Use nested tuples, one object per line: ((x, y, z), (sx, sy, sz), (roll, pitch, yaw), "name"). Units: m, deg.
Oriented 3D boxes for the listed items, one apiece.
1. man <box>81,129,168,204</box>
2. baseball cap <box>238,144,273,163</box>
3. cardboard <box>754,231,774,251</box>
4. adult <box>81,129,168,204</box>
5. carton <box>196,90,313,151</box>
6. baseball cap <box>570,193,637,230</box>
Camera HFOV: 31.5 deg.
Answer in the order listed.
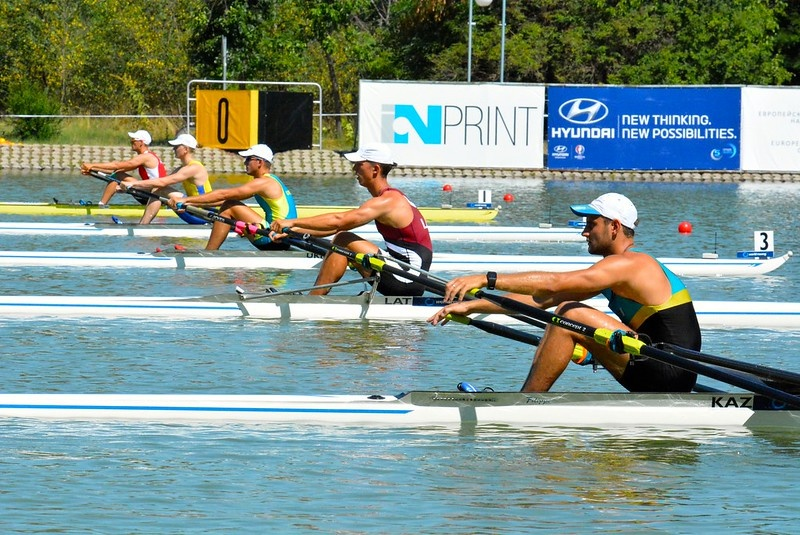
((-4.815, -1.687, 24.709), (1.685, 1.175, 0.670), (8, 6, -8), "man")
((-2.117, -1.743, 20.786), (0.584, 0.228, 0.355), (9, 0, -2), "baseball cap")
((5.591, -0.421, 21.695), (0.428, 0.345, 0.043), (0, 4, 8), "cardboard")
((-4.842, -1.705, 24.702), (1.712, 1.178, 0.703), (8, 7, -13), "adult")
((-3.517, -3.564, 33.889), (2.116, 1.064, 2.089), (10, 11, 43), "carton")
((2.225, -0.615, 15.428), (0.698, 0.249, 0.382), (7, 1, 4), "baseball cap")
